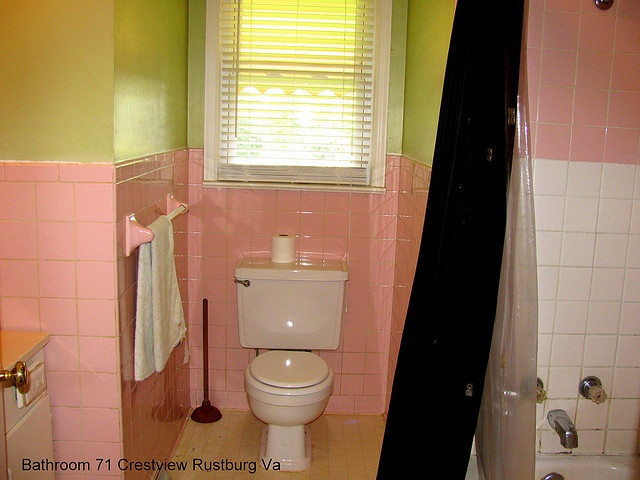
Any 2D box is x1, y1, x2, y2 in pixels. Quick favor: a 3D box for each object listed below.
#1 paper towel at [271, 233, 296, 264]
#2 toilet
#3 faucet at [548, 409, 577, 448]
[{"bbox_3d":[-0.198,0.043,3.087,0.128,0.152,0.132,-2,9,-11],"label":"paper towel"},{"bbox_3d":[-0.144,0.634,2.938,0.587,0.953,0.596,0,13,-9],"label":"toilet"},{"bbox_3d":[1.018,0.777,2.381,0.085,0.051,0.162,-2,21,1],"label":"faucet"}]
